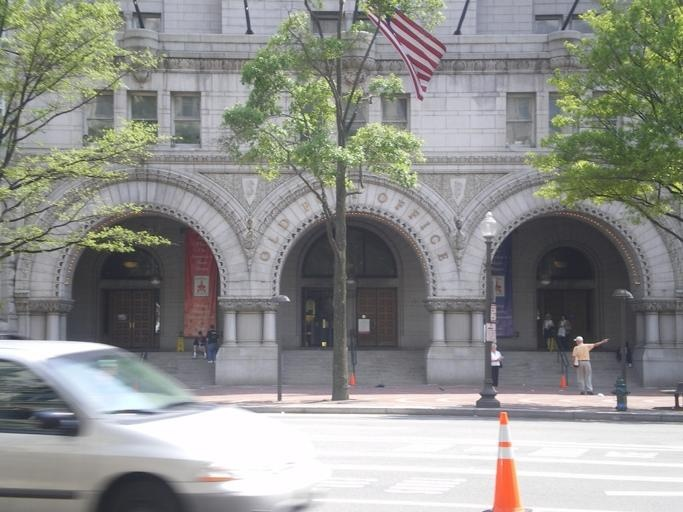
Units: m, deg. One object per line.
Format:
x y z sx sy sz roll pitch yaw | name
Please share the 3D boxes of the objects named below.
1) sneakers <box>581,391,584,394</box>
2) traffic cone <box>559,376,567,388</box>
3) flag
7.801 4.458 44.983 0.138 0.116 0.071 -1 0 1 | sneakers
7.543 4.352 47.768 0.387 0.371 0.376 -1 0 29 | traffic cone
2.379 -6.632 45.135 1.379 2.562 3.478 -2 -4 19 | flag
